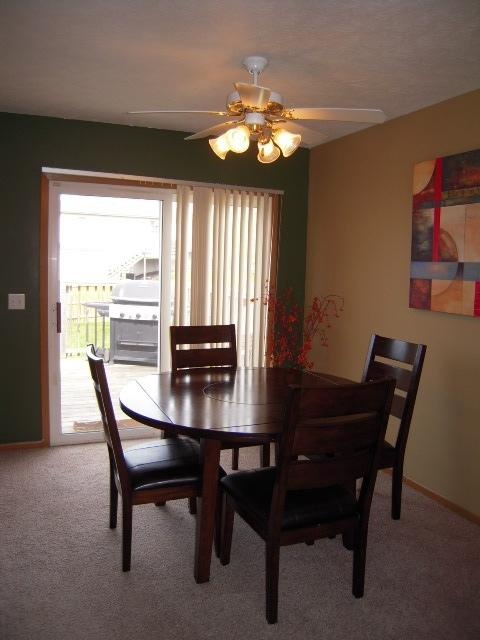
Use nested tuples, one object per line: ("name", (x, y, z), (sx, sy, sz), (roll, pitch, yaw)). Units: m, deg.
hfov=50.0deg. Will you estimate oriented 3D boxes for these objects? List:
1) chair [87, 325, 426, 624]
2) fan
("chair", (0.007, 0.501, 2.276), (1.145, 0.752, 1.170), (-2, 6, -18))
("fan", (0.061, -1.179, 2.891), (0.665, 0.279, 0.666), (5, -8, -34))
